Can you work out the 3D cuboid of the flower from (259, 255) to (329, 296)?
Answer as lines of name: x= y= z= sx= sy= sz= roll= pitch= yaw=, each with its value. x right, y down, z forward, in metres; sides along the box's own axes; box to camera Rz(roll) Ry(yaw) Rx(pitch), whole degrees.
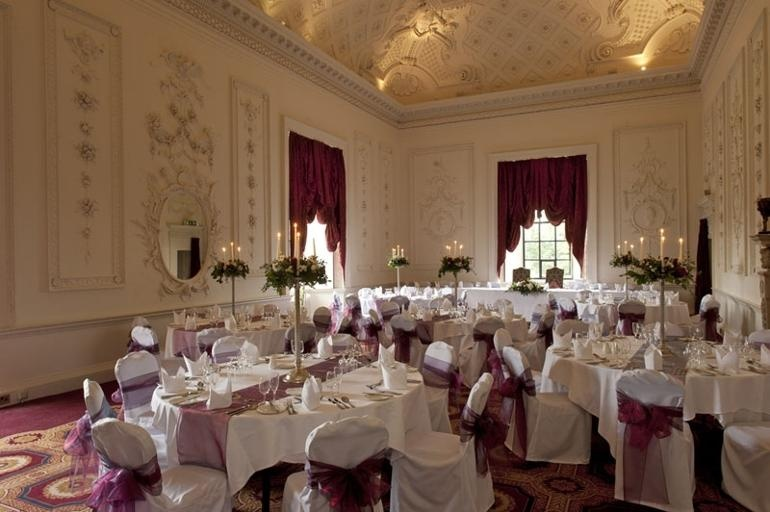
flower: x=-1.001 y=0.193 z=5.919 sx=0.656 sy=0.417 sz=0.619 roll=0 pitch=-3 yaw=-11

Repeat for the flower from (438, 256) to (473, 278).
flower: x=1.501 y=0.185 z=11.323 sx=0.676 sy=0.538 sz=0.723 roll=0 pitch=-2 yaw=-1

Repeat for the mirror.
mirror: x=-3.710 y=-0.337 z=9.207 sx=0.188 sy=2.843 sz=2.301 roll=-2 pitch=-3 yaw=30

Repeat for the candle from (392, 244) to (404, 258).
candle: x=0.432 y=-0.165 z=15.222 sx=0.333 sy=0.514 sz=0.351 roll=0 pitch=-2 yaw=-24

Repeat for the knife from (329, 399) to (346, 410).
knife: x=-0.456 y=1.420 z=5.112 sx=0.057 sy=0.020 sz=0.233 roll=-7 pitch=5 yaw=-17

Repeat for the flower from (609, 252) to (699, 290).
flower: x=4.894 y=0.251 z=9.476 sx=0.769 sy=0.443 sz=0.771 roll=1 pitch=3 yaw=-20

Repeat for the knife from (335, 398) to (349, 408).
knife: x=-0.426 y=1.404 z=5.122 sx=0.049 sy=0.026 sz=0.179 roll=1 pitch=5 yaw=-21

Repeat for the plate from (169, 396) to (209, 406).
plate: x=-1.935 y=1.407 z=5.179 sx=0.333 sy=0.061 sz=0.192 roll=1 pitch=-3 yaw=-23
